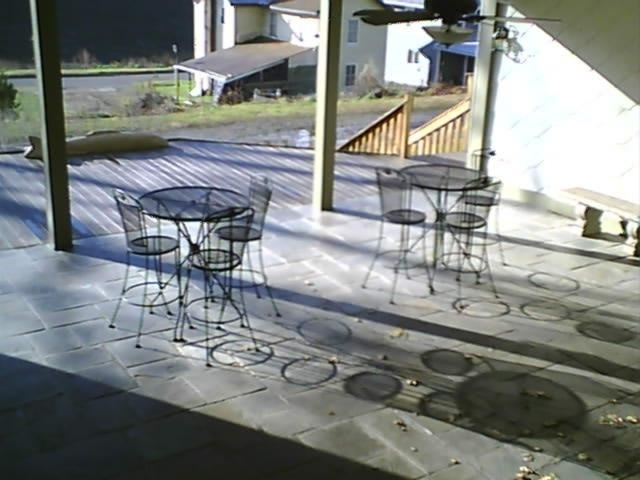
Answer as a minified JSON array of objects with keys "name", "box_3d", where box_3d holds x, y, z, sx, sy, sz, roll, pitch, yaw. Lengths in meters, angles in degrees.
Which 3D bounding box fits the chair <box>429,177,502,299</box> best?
[{"name":"chair","box_3d":[1.762,-0.171,5.950,0.833,1.214,1.966,8,17,14]}]

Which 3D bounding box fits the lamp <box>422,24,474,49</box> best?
[{"name":"lamp","box_3d":[1.053,-1.698,4.251,0.385,0.149,0.454,13,18,36]}]
